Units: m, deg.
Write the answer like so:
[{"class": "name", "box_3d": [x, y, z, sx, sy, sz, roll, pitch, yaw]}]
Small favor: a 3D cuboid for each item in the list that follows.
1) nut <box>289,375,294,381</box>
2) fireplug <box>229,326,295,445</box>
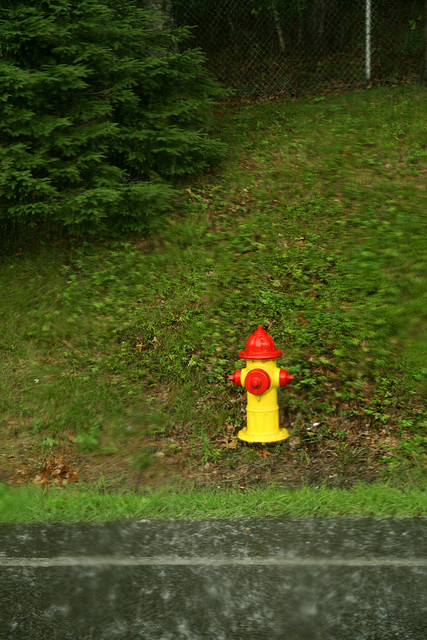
[{"class": "nut", "box_3d": [0.630, 0.467, 4.954, 0.048, 0.041, 0.053, 5, -1, 5]}, {"class": "fireplug", "box_3d": [0.392, 0.540, 4.995, 0.510, 0.952, 0.274, -4, 7, 2]}]
